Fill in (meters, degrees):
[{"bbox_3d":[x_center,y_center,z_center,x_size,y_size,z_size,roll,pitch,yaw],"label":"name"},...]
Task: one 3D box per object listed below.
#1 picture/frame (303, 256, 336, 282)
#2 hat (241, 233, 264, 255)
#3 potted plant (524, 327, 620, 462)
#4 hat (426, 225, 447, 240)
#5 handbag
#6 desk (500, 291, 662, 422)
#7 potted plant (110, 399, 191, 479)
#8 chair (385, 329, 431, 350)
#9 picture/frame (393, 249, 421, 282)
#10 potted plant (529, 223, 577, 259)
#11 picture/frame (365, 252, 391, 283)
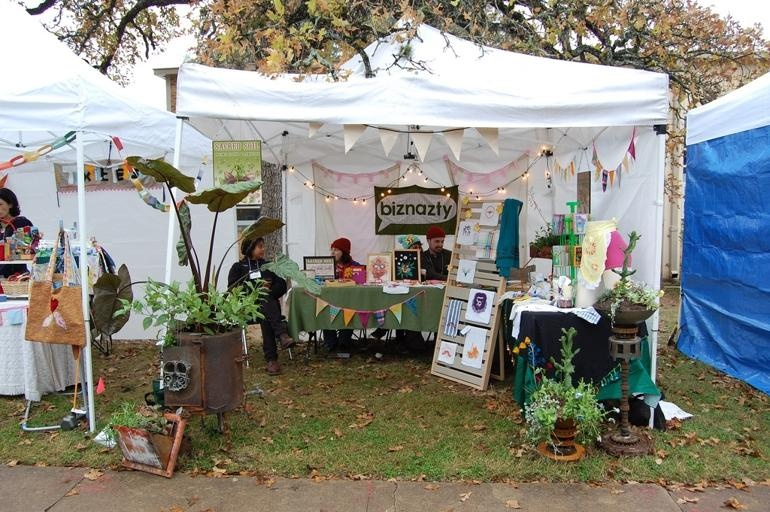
[{"bbox_3d":[-0.933,0.206,8.074,0.357,0.302,0.036,1,-17,-10],"label":"picture/frame"},{"bbox_3d":[-1.704,-0.138,7.268,0.234,0.227,0.179,-28,4,8],"label":"hat"},{"bbox_3d":[1.806,1.363,5.759,0.758,1.278,0.788,1,1,20],"label":"potted plant"},{"bbox_3d":[0.804,-0.340,8.826,0.240,0.194,0.243,-1,-1,20],"label":"hat"},{"bbox_3d":[-3.564,0.344,6.156,0.777,1.247,0.185,1,2,22],"label":"handbag"},{"bbox_3d":[2.161,1.095,6.470,1.344,1.003,1.360,1,-5,2],"label":"desk"},{"bbox_3d":[-2.307,1.783,5.657,0.746,0.693,0.609,-1,-18,17],"label":"potted plant"},{"bbox_3d":[0.411,1.325,8.822,0.529,0.191,0.375,9,-3,-4],"label":"chair"},{"bbox_3d":[0.320,0.167,8.296,0.450,0.602,0.066,1,-1,3],"label":"picture/frame"},{"bbox_3d":[2.038,-0.151,6.977,0.512,0.215,0.518,0,-3,9],"label":"potted plant"},{"bbox_3d":[-0.096,0.199,8.362,0.402,0.550,0.056,4,-4,4],"label":"picture/frame"}]
